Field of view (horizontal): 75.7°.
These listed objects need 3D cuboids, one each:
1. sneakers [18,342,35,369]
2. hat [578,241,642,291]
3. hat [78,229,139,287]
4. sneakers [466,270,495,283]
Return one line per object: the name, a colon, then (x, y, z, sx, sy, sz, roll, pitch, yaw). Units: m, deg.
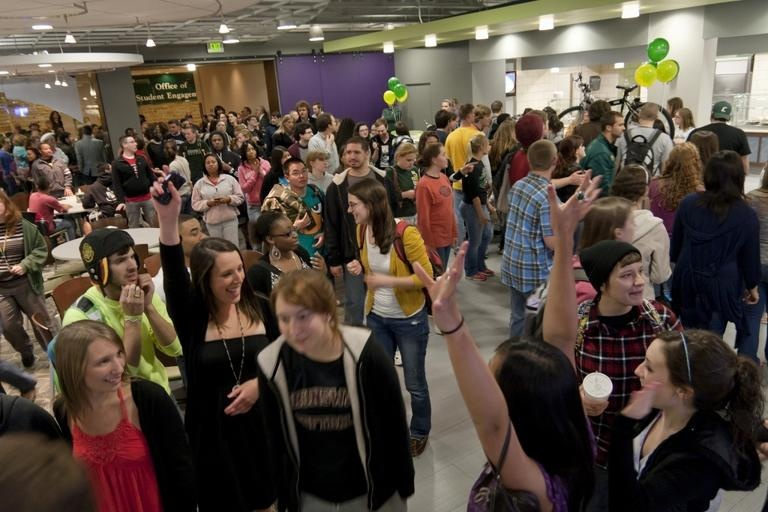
sneakers: (-3.775, 1.067, 5.296, 0.111, 0.331, 0.141, 1, 4, 2)
hat: (1.205, 0.058, 2.690, 0.293, 0.232, 0.247, -15, -7, 29)
hat: (-1.580, -0.002, 2.844, 0.243, 0.320, 0.190, 4, 16, 25)
sneakers: (1.257, 0.245, 6.411, 0.258, 0.100, 0.143, -2, 7, 16)
